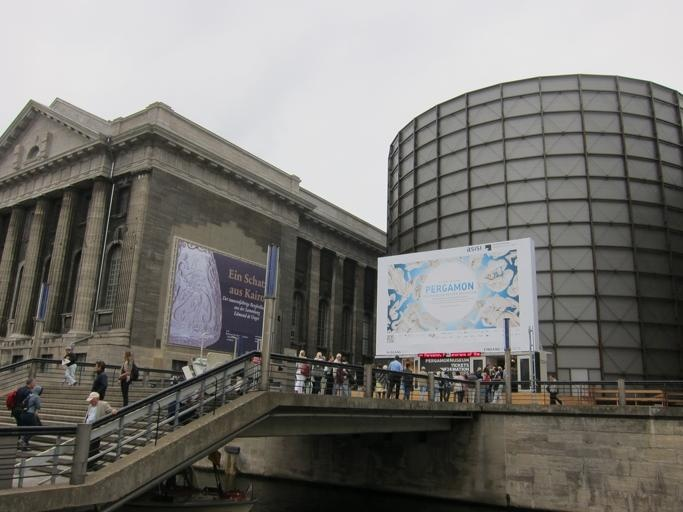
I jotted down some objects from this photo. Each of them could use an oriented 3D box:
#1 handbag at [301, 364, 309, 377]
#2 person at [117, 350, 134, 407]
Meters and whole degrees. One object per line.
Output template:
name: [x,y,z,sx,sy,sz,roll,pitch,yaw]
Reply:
handbag: [-1.168,3.716,16.624,0.285,0.404,0.288,0,15,7]
person: [-7.791,4.417,18.407,0.421,1.767,1.453,5,-17,-22]
